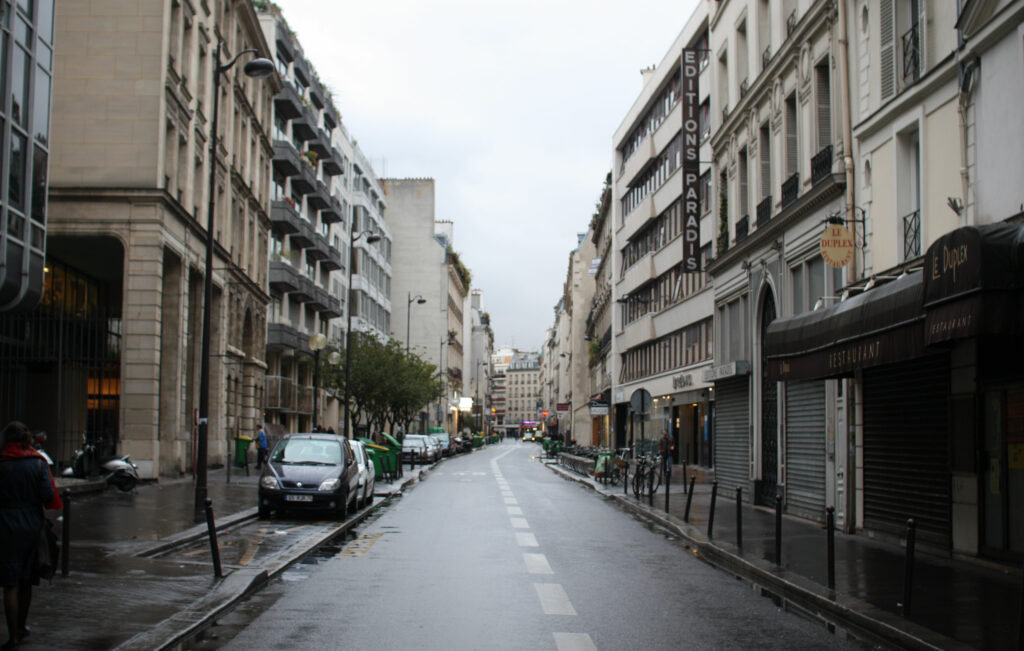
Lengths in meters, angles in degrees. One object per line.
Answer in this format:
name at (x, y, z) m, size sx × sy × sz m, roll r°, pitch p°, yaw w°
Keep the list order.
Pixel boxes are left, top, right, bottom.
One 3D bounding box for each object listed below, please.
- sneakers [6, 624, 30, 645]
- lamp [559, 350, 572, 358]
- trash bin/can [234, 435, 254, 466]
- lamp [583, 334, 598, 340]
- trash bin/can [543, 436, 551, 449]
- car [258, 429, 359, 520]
sneakers at (-6.705, 4.178, 13.580) m, size 0.142 × 0.216 × 0.469 m, roll 0°, pitch -1°, yaw -3°
lamp at (6.882, 3.690, 131.661) m, size 1.489 × 1.117 × 0.522 m, roll 6°, pitch -8°, yaw -16°
trash bin/can at (-12.732, 5.819, 46.797) m, size 1.196 × 1.915 × 1.268 m, roll 0°, pitch -2°, yaw -16°
lamp at (7.266, 0.991, 93.604) m, size 1.055 × 0.416 × 1.157 m, roll -1°, pitch -4°, yaw 5°
trash bin/can at (2.866, 9.528, 81.446) m, size 0.776 × 1.030 × 0.842 m, roll 0°, pitch 2°, yaw -16°
car at (-5.606, 4.115, 27.476) m, size 2.270 × 2.048 × 2.372 m, roll 0°, pitch -2°, yaw 1°
